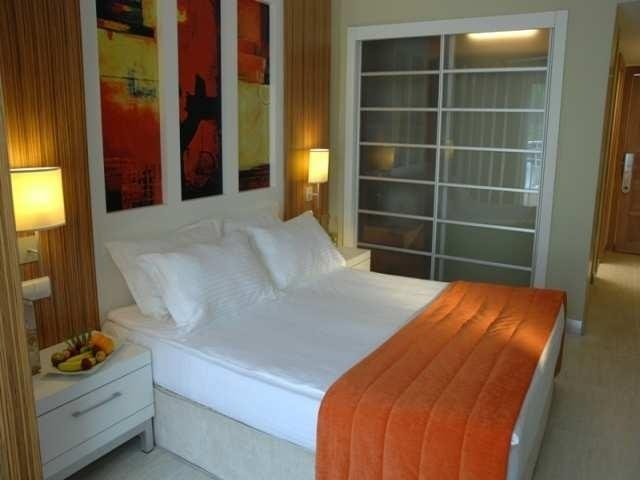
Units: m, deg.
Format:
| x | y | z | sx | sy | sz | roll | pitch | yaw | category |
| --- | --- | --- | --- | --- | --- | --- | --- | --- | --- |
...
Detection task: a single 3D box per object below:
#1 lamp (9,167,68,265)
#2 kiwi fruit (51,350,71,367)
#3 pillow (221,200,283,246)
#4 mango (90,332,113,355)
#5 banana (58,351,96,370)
| x | y | z | sx | sy | sz | roll | pitch | yaw | category |
| --- | --- | --- | --- | --- | --- | --- | --- | --- | --- |
| -1.518 | -0.125 | 2.586 | 0.254 | 0.529 | 0.286 | -11 | 15 | -34 | lamp |
| -1.417 | 0.642 | 2.610 | 0.081 | 0.092 | 0.086 | 3 | -2 | -1 | kiwi fruit |
| -0.534 | -0.141 | 3.829 | 0.366 | 0.296 | 0.099 | -8 | -7 | -41 | pillow |
| -1.262 | 0.588 | 2.746 | 0.078 | 0.051 | 0.163 | -3 | 17 | -36 | mango |
| -1.307 | 0.672 | 2.570 | 0.187 | 0.063 | 0.108 | -10 | 14 | -28 | banana |
